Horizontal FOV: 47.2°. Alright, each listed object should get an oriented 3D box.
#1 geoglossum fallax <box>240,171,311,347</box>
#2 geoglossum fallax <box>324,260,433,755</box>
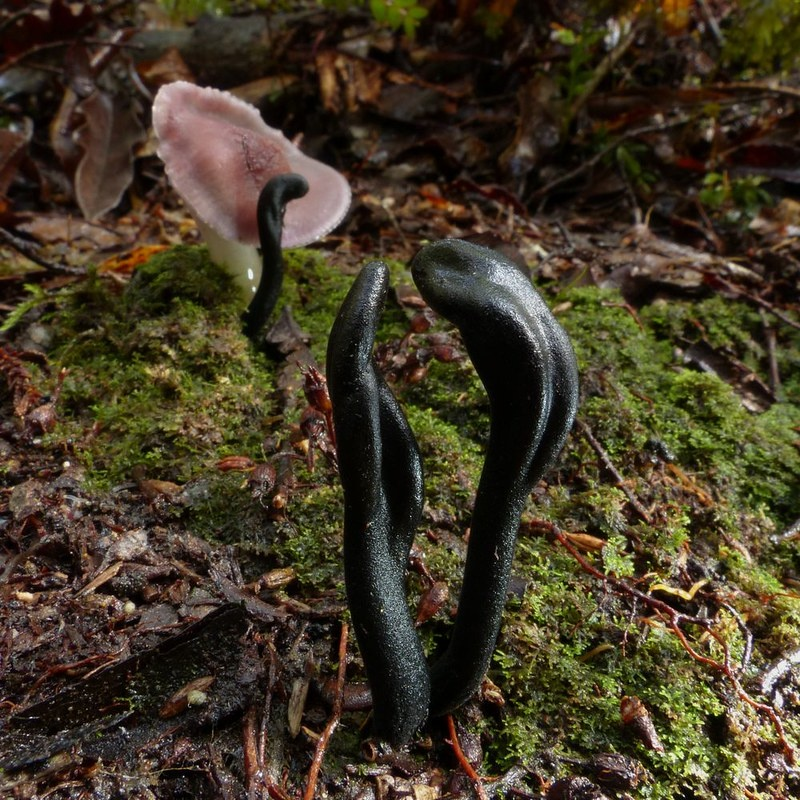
[{"bbox_3d":[-0.519,-0.533,3.527,0.166,0.825,0.229,15,38,-11],"label":"geoglossum fallax"},{"bbox_3d":[0.003,0.332,2.377,0.402,1.269,0.229,-4,7,20],"label":"geoglossum fallax"}]
